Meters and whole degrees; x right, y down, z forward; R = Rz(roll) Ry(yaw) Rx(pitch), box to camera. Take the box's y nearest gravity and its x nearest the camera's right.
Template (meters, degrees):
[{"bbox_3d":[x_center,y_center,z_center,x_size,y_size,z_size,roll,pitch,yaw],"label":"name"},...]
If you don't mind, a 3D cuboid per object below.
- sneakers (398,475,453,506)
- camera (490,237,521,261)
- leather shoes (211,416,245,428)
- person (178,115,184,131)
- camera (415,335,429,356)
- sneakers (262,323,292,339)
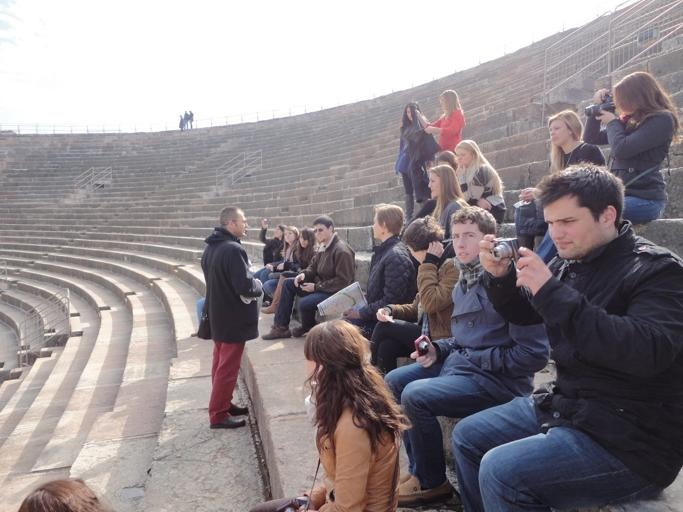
[{"bbox_3d":[0.541,1.598,3.923,0.417,0.180,0.153,3,-11,-7],"label":"sneakers"},{"bbox_3d":[0.979,-0.050,3.405,0.115,0.114,0.151,-7,5,-25],"label":"camera"},{"bbox_3d":[-1.099,1.610,5.594,0.308,0.125,0.124,0,-3,-14],"label":"leather shoes"},{"bbox_3d":[-10.487,-8.596,37.657,0.193,0.788,0.814,-2,3,-11],"label":"person"},{"bbox_3d":[0.605,0.670,4.303,0.104,0.151,0.079,-25,27,-38],"label":"camera"},{"bbox_3d":[-0.776,0.924,6.970,0.386,0.171,0.130,-1,-2,-6],"label":"sneakers"}]
